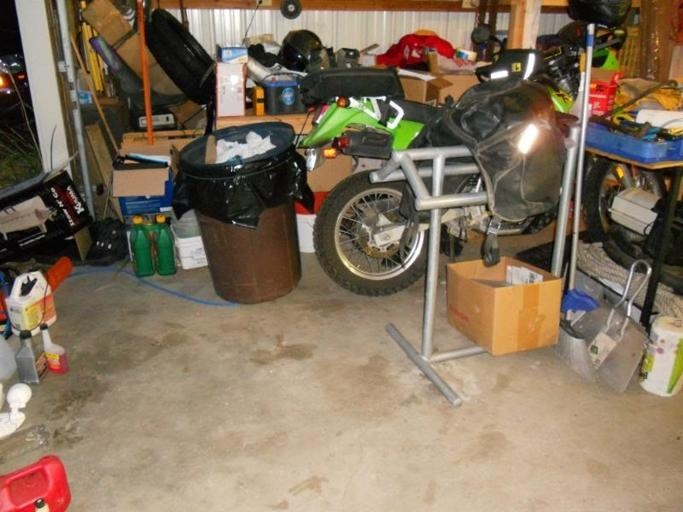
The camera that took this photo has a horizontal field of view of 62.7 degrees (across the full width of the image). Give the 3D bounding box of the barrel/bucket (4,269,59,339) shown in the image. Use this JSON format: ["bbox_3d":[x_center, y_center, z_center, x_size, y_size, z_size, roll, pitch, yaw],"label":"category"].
[{"bbox_3d":[-1.804,0.296,3.284,0.245,0.347,0.262,-2,26,1],"label":"barrel/bucket"}]

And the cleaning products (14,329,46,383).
[{"bbox_3d":[-1.823,0.595,3.281,0.092,0.230,0.237,-10,23,-15],"label":"cleaning products"}]

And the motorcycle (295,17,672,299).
[{"bbox_3d":[1.106,-0.548,3.685,2.633,1.708,1.314,-11,25,-7],"label":"motorcycle"}]

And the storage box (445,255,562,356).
[{"bbox_3d":[0.985,0.283,3.519,0.560,0.520,0.739,-5,14,-13],"label":"storage box"}]

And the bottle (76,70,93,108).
[{"bbox_3d":[-2.243,-1.428,4.886,0.110,0.331,0.332,-13,28,-20],"label":"bottle"}]

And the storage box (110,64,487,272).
[{"bbox_3d":[-0.088,-0.746,3.619,1.314,0.897,0.725,-14,19,-10],"label":"storage box"}]

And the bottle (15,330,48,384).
[{"bbox_3d":[-1.810,0.602,3.275,0.089,0.225,0.232,-11,27,-13],"label":"bottle"}]
